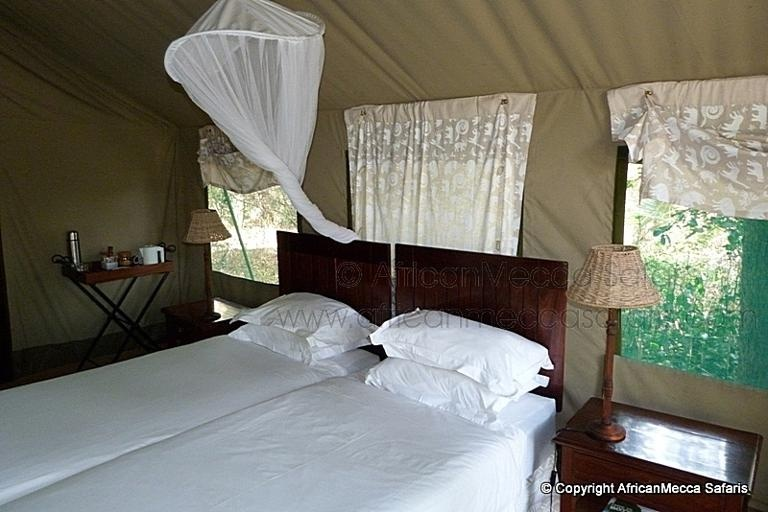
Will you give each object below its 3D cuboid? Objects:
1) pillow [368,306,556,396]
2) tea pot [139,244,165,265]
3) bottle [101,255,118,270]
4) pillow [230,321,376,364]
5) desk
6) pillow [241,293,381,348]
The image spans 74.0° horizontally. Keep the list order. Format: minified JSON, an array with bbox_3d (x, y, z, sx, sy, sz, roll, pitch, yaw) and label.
[{"bbox_3d":[0.413,0.546,3.222,0.902,0.232,0.541,15,18,38],"label":"pillow"},{"bbox_3d":[-2.473,-0.017,5.454,0.220,0.216,0.217,1,8,0],"label":"tea pot"},{"bbox_3d":[-2.821,0.073,5.244,0.145,0.151,0.151,-5,7,-25],"label":"bottle"},{"bbox_3d":[-0.649,0.662,3.909,0.596,0.167,0.409,6,10,38],"label":"pillow"},{"bbox_3d":[-2.791,0.634,5.327,0.380,1.088,1.013,5,6,39],"label":"desk"},{"bbox_3d":[-0.642,0.390,3.952,0.755,0.229,0.502,4,8,37],"label":"pillow"}]
